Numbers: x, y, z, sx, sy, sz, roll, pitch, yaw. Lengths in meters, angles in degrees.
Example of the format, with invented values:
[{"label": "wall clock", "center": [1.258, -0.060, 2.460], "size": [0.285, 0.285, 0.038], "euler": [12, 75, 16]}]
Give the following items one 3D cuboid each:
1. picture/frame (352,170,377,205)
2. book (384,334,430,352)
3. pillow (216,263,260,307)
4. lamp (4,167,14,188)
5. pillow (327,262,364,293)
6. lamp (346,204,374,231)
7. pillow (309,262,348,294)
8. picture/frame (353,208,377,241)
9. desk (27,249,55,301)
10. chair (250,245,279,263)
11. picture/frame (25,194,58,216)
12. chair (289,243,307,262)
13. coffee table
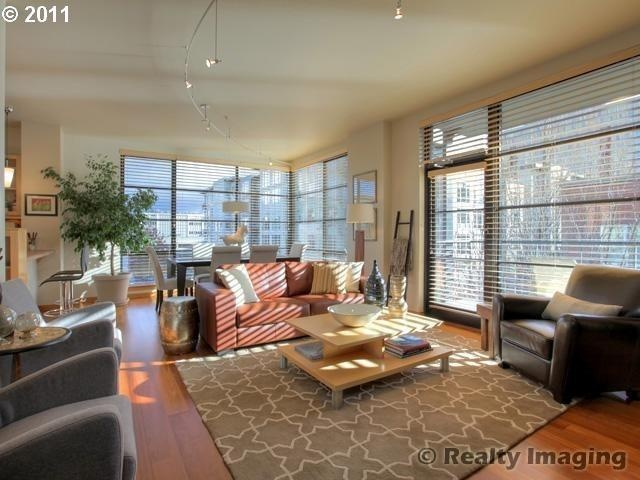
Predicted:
[{"label": "picture/frame", "center": [0.731, -0.834, 6.823], "size": [0.037, 0.604, 0.800], "euler": [3, -2, -25]}, {"label": "book", "center": [0.810, 0.995, 4.082], "size": [0.286, 0.060, 0.296], "euler": [2, 3, 45]}, {"label": "pillow", "center": [-0.931, 0.514, 4.900], "size": [0.144, 0.434, 0.477], "euler": [-33, -10, 27]}, {"label": "lamp", "center": [-4.061, -0.825, 5.595], "size": [0.082, 0.264, 0.611], "euler": [-4, 4, -35]}, {"label": "pillow", "center": [0.323, 0.506, 5.571], "size": [0.430, 0.295, 0.152], "euler": [0, 14, -18]}, {"label": "lamp", "center": [0.558, -0.284, 5.685], "size": [0.403, 0.387, 0.377], "euler": [0, -3, 7]}, {"label": "pillow", "center": [0.137, 0.498, 5.464], "size": [0.442, 0.377, 0.109], "euler": [4, -12, 2]}, {"label": "picture/frame", "center": [0.670, -0.218, 6.222], "size": [0.024, 0.505, 0.548], "euler": [0, 1, -28]}, {"label": "desk", "center": [-4.169, 0.502, 6.382], "size": [0.308, 0.659, 0.860], "euler": [1, 2, -12]}, {"label": "chair", "center": [-0.814, 0.190, 6.233], "size": [0.303, 0.325, 0.310], "euler": [0, 6, -19]}, {"label": "picture/frame", "center": [-4.388, -0.550, 6.701], "size": [0.407, 0.305, 0.029], "euler": [-1, 5, -30]}, {"label": "chair", "center": [-0.394, 0.209, 7.245], "size": [0.293, 0.371, 0.324], "euler": [-2, -6, 38]}, {"label": "coffee table", "center": [0.238, 1.030, 3.984], "size": [1.252, 0.389, 0.864], "euler": [-2, 3, -34]}]
